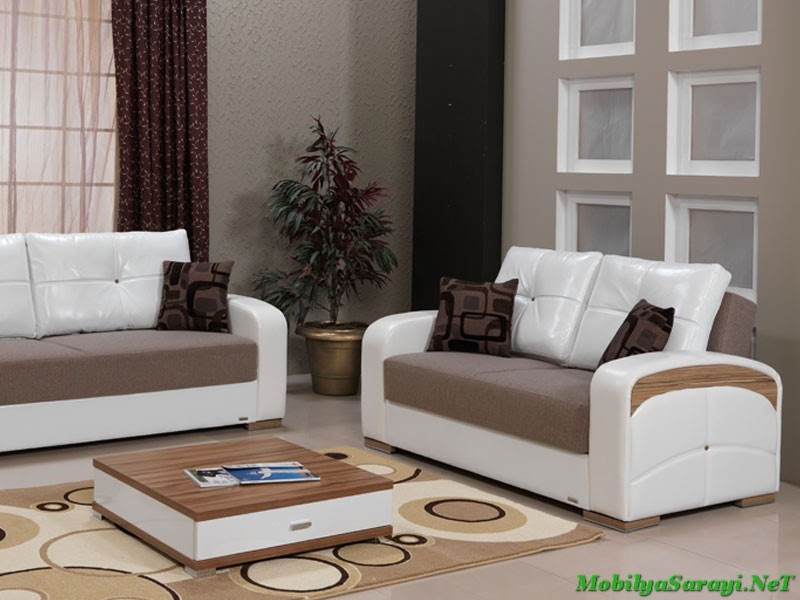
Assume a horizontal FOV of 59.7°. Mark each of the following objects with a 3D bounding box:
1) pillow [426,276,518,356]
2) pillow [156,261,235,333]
[{"bbox_3d":[0.424,0.103,3.974,0.420,0.344,0.149,7,15,20],"label":"pillow"},{"bbox_3d":[-1.312,-0.011,4.454,0.403,0.404,0.146,3,-13,2],"label":"pillow"}]
